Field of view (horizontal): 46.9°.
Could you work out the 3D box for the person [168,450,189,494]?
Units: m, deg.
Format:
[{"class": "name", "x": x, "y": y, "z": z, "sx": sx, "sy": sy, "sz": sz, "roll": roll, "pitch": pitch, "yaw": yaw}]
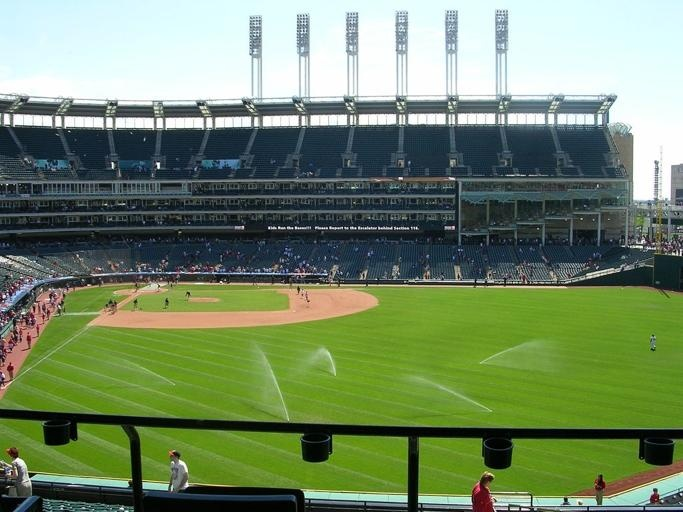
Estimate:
[{"class": "person", "x": -5.180, "y": 6.973, "z": 25.012, "sx": 0.465, "sy": 1.241, "sz": 0.932, "roll": -1, "pitch": 6, "yaw": -30}]
